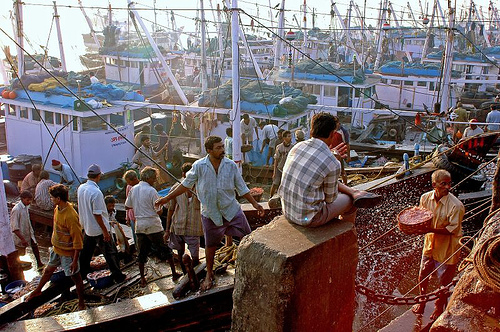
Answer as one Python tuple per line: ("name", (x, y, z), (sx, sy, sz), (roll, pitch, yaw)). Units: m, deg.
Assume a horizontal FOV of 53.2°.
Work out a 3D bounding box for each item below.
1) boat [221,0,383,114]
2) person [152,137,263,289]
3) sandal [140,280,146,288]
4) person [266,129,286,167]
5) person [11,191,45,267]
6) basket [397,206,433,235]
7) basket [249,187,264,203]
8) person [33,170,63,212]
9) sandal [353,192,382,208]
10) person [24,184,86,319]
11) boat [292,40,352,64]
("boat", (3.152, -5.392, 23.820), (6.121, 6.198, 13.928), (0, 13, 15))
("person", (-0.531, 0.766, 8.511), (1.366, 2.544, 0.448), (-7, 13, -14))
("sandal", (-2.038, 2.236, 9.538), (0.114, 0.083, 0.174), (-7, 13, -12))
("person", (0.737, -0.544, 13.825), (0.430, 1.458, 0.436), (12, 53, -4))
("person", (-5.311, 1.523, 11.972), (0.796, 1.954, 0.702), (-4, 19, -22))
("basket", (2.707, 0.936, 8.158), (0.561, 0.344, 0.438), (-1, 13, 14))
("basket", (0.179, 0.704, 12.007), (0.313, 0.222, 0.326), (0, 9, 3))
("person", (-5.156, 0.659, 12.650), (0.730, 1.325, 0.908), (1, 56, -18))
("sandal", (1.714, 0.491, 7.266), (0.431, 0.172, 0.177), (-6, 6, 16))
("person", (-3.613, 1.559, 9.363), (1.170, 2.476, 0.896), (2, 15, -21))
("boat", (6.518, -10.701, 46.070), (4.860, 3.067, 8.898), (4, 13, 18))
